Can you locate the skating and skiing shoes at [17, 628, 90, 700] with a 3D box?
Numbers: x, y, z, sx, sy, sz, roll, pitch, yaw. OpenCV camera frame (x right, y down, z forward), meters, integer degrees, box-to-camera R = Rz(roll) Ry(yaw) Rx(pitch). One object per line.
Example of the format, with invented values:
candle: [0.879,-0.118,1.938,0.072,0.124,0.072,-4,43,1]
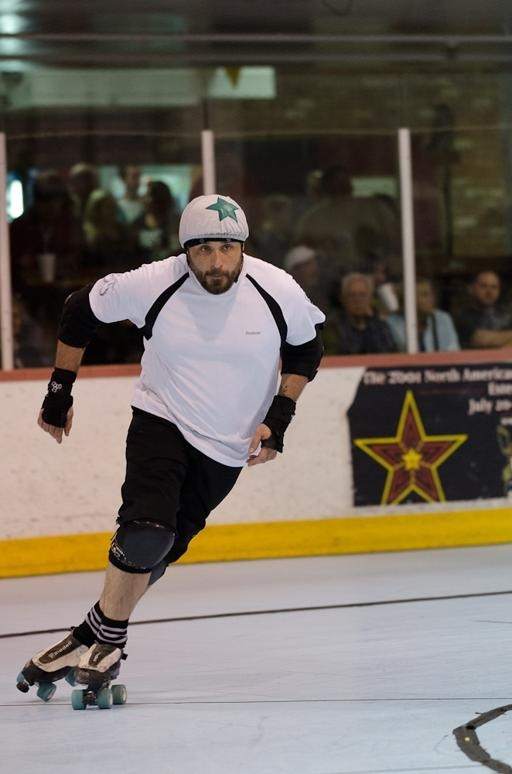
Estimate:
skating and skiing shoes: [-0.553,0.757,2.662,0.088,0.136,0.226,46,28,11]

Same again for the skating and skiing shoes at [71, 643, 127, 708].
skating and skiing shoes: [-0.398,0.737,2.505,0.100,0.125,0.284,-6,-4,17]
